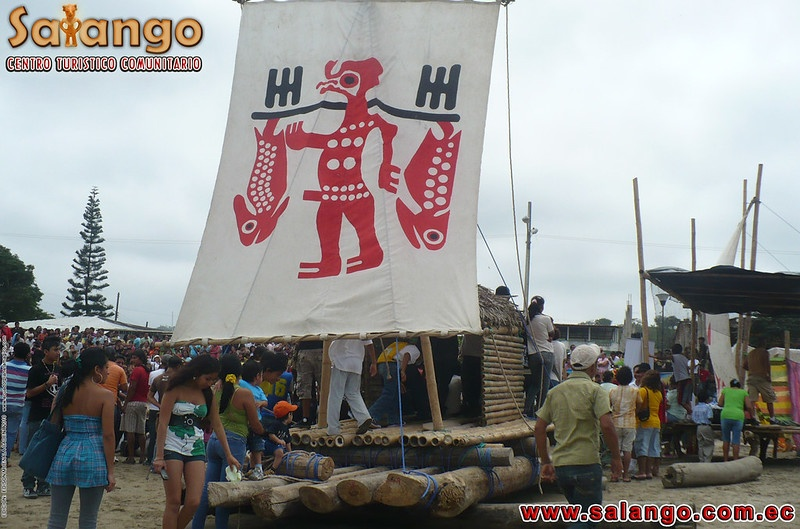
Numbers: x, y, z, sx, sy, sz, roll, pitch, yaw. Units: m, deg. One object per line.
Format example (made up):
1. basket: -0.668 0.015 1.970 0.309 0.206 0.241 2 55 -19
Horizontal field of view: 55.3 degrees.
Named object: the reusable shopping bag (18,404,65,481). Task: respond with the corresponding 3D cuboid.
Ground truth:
1. reusable shopping bag: -4.733 2.312 9.971 0.347 0.691 0.467 14 10 -31
